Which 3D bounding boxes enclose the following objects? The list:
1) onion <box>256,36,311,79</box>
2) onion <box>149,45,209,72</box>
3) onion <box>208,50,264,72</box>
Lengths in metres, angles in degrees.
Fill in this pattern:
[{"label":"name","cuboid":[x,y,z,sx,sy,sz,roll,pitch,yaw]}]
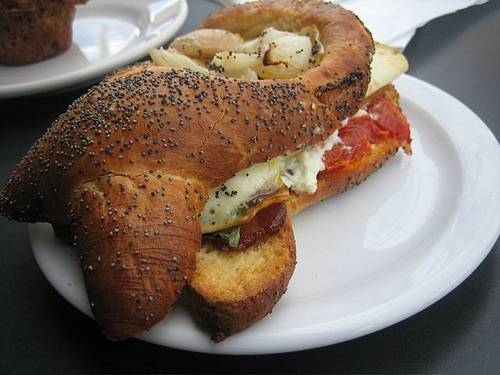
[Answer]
[{"label":"onion","cuboid":[0.175,-0.676,2.731,0.268,0.076,0.266,2,69,1]},{"label":"onion","cuboid":[-0.382,-0.663,2.724,0.154,0.048,0.164,18,32,-8]},{"label":"onion","cuboid":[-0.067,-0.653,2.750,0.204,0.062,0.128,-5,34,-5]}]
